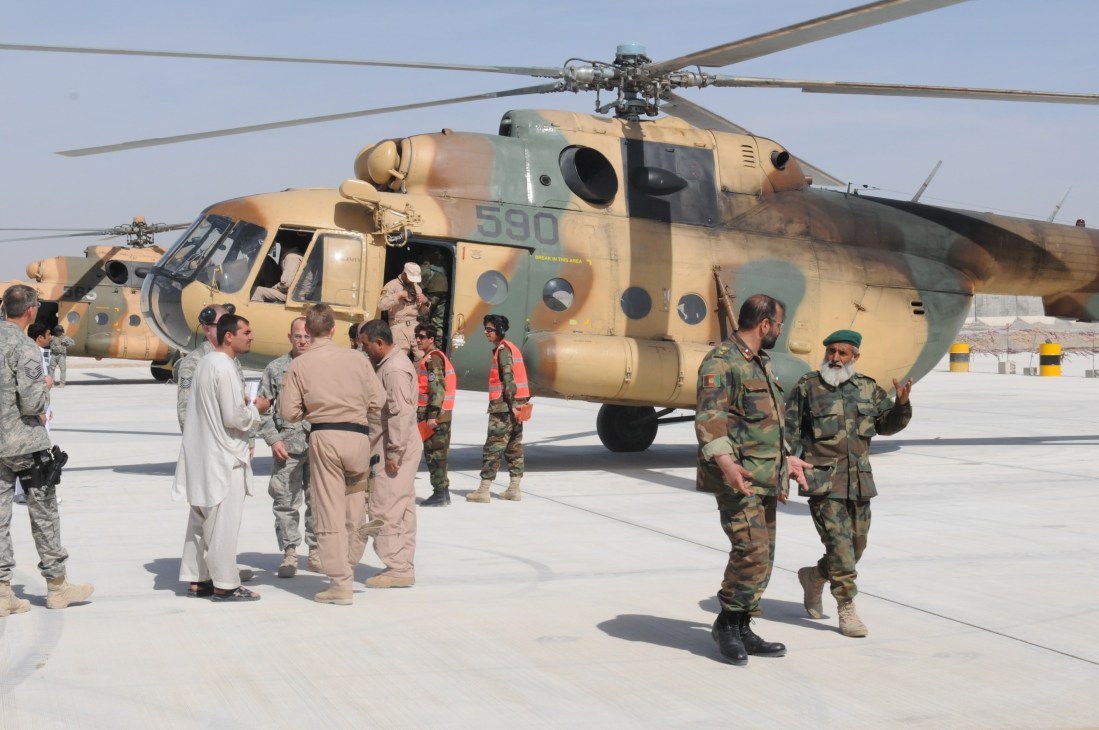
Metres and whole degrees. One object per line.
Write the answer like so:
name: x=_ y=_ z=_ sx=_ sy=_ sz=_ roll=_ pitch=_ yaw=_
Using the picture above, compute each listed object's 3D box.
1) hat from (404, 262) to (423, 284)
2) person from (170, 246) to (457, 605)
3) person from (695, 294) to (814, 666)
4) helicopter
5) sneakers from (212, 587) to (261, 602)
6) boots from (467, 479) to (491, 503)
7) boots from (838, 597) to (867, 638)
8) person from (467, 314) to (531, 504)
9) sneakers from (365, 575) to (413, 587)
hat: x=-1.689 y=-1.114 z=15.005 sx=0.234 sy=0.091 sz=0.303 roll=-4 pitch=37 yaw=-24
person: x=-1.769 y=0.785 z=11.199 sx=0.933 sy=2.564 sz=1.281 roll=10 pitch=17 yaw=30
person: x=1.572 y=0.916 z=10.020 sx=0.895 sy=2.853 sz=1.035 roll=4 pitch=15 yaw=8
helicopter: x=1.309 y=-1.705 z=16.722 sx=9.815 sy=2.633 sz=7.183 roll=2 pitch=0 yaw=-24
sneakers: x=-2.776 y=2.015 z=11.000 sx=0.452 sy=0.136 sz=0.142 roll=0 pitch=4 yaw=-10
boots: x=-0.851 y=1.468 z=14.498 sx=0.304 sy=0.307 sz=0.284 roll=-1 pitch=13 yaw=-8
boots: x=2.530 y=2.126 z=10.426 sx=0.244 sy=0.295 sz=0.184 roll=4 pitch=14 yaw=10
person: x=-0.614 y=0.546 z=14.487 sx=0.692 sy=2.189 sz=0.729 roll=1 pitch=15 yaw=-2
sneakers: x=-1.472 y=1.964 z=11.324 sx=0.448 sy=0.145 sz=0.140 roll=2 pitch=-2 yaw=-1
